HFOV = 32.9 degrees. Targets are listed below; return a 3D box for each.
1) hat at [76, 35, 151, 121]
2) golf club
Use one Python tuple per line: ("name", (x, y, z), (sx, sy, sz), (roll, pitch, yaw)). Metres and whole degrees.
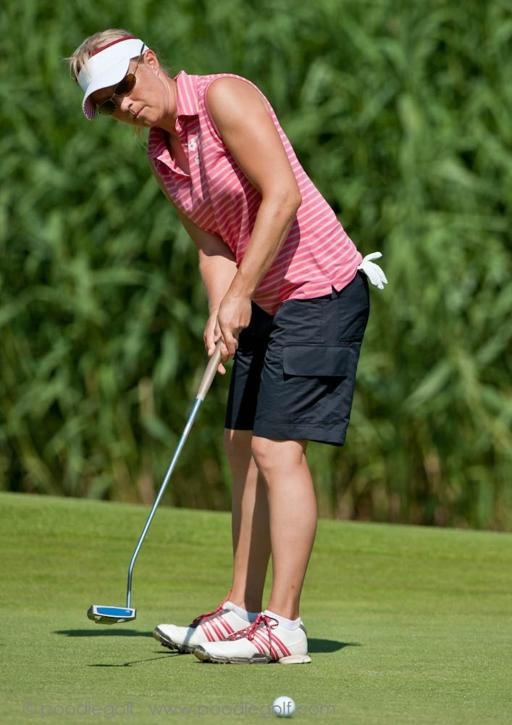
("hat", (-0.281, -0.553, 1.733), (0.123, 0.164, 0.108), (6, 14, 31))
("golf club", (-0.390, 0.450, 3.362), (0.167, 0.839, 0.164), (18, -5, 18))
